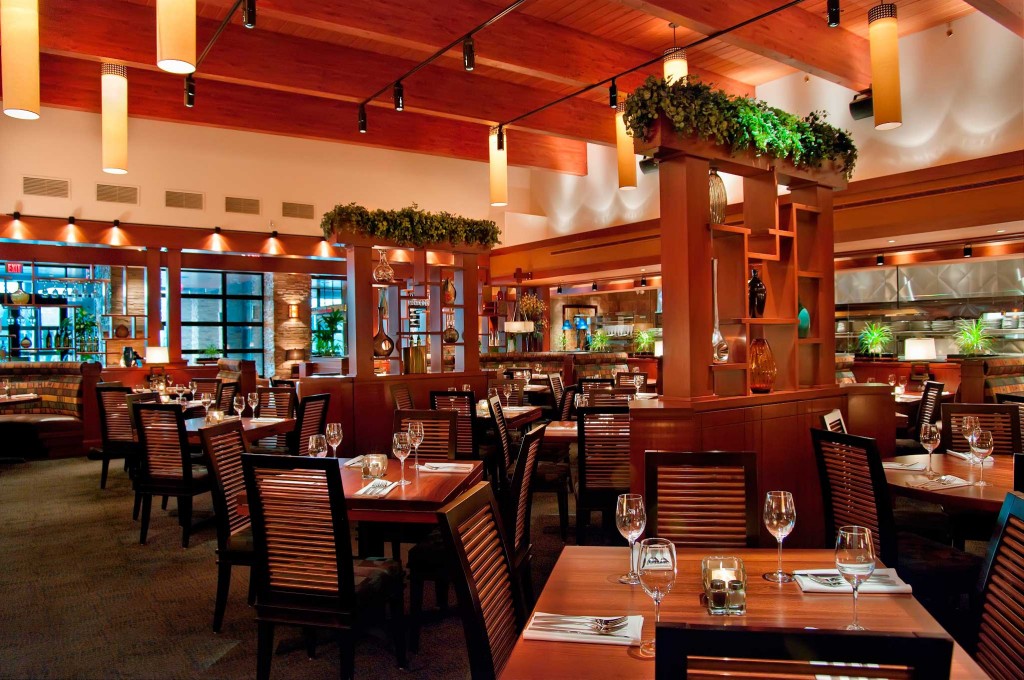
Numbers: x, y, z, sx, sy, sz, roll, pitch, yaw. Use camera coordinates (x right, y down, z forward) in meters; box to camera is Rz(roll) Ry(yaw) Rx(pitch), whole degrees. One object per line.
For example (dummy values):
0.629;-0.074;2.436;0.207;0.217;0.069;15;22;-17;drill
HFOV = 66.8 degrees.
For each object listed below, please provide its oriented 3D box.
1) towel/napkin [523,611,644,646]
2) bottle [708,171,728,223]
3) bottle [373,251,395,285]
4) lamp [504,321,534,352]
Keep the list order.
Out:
0.382;1.512;4.062;0.397;0.057;0.227;-1;4;7;towel/napkin
1.721;-1.196;6.498;0.081;0.386;0.278;-2;0;35;bottle
-1.635;-0.932;9.937;0.271;0.403;0.385;-2;0;-9;bottle
0.074;-0.079;15.608;0.648;0.616;0.597;1;-2;-21;lamp
